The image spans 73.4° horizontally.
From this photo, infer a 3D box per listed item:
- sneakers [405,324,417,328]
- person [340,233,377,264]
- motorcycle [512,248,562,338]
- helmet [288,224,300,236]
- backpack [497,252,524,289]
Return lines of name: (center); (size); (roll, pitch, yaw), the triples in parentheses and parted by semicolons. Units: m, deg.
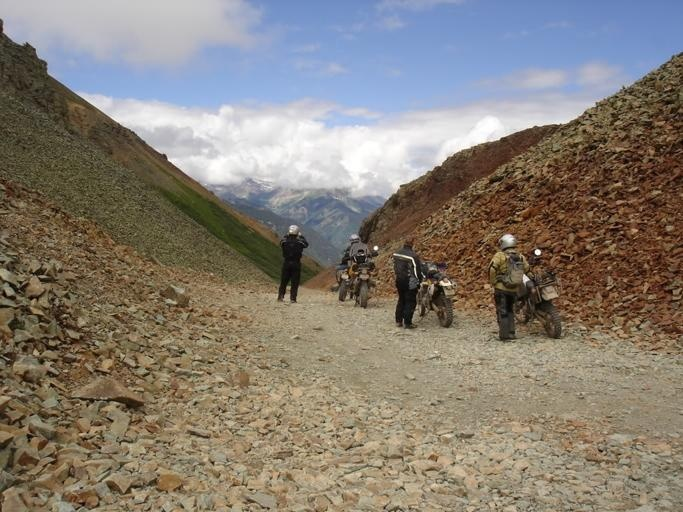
sneakers: (2.096, 2.140, 13.793); (0.380, 0.088, 0.212); (0, -15, 0)
person: (0.693, -0.258, 19.230); (1.538, 0.898, 1.849); (0, 10, -4)
motorcycle: (5.281, 1.052, 12.250); (0.749, 2.072, 1.578); (-4, 12, -8)
helmet: (-1.985, -1.007, 17.992); (0.470, 0.427, 0.511); (7, 9, 14)
backpack: (4.512, 0.408, 12.166); (0.641, 0.913, 0.410); (2, 13, 14)
